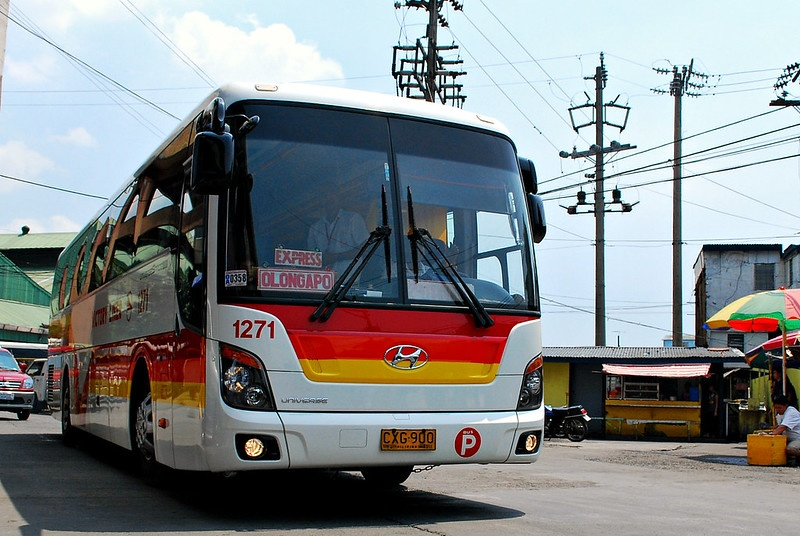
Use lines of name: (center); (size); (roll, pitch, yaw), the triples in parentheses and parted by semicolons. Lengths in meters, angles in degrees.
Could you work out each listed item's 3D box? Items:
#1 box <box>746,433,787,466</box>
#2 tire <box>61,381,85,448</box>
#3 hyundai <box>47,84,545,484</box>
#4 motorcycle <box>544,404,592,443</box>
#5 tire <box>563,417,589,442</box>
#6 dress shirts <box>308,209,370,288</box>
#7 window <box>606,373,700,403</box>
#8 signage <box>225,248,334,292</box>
box: (7.388, 3.691, 16.926); (0.662, 0.488, 0.668); (1, -5, -3)
tire: (-6.555, 2.965, 16.457); (0.301, 1.206, 1.179); (-6, 7, -28)
hyundai: (-1.829, 0.414, 10.824); (6.130, 4.763, 3.595); (-8, -13, 43)
motorcycle: (5.320, 5.004, 26.534); (1.727, 1.060, 0.916); (0, -4, 23)
tire: (5.533, 5.139, 26.464); (0.753, 0.797, 0.156); (-12, -14, 37)
dress shirts: (-0.708, -0.160, 9.299); (0.656, 0.795, 0.288); (13, -18, 1)
window: (8.732, 4.255, 29.390); (2.880, 0.818, 0.592); (-3, -10, 23)
signage: (-1.311, 0.043, 9.179); (1.175, 0.467, 0.194); (2, -5, -15)
